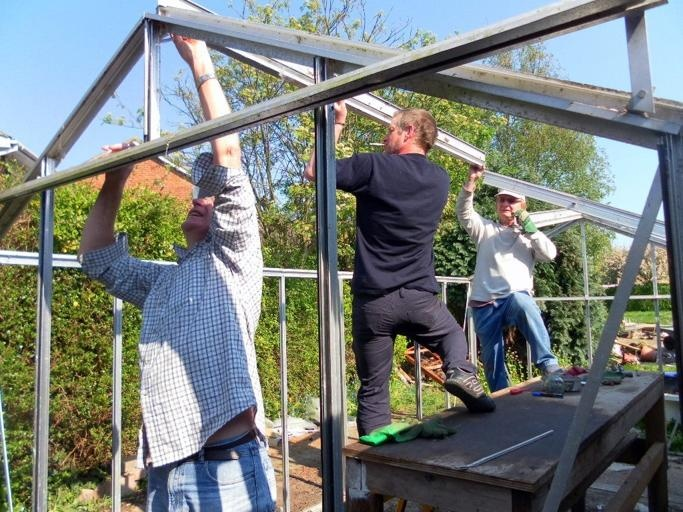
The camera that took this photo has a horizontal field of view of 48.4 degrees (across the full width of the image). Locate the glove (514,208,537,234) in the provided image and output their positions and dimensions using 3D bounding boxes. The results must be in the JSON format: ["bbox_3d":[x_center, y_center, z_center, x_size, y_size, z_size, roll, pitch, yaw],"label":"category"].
[{"bbox_3d":[1.579,-0.269,6.478,0.157,0.217,0.074,-42,-30,28],"label":"glove"}]

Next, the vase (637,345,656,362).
[{"bbox_3d":[5.407,1.769,13.434,0.231,0.269,0.266,5,-13,-17],"label":"vase"}]
